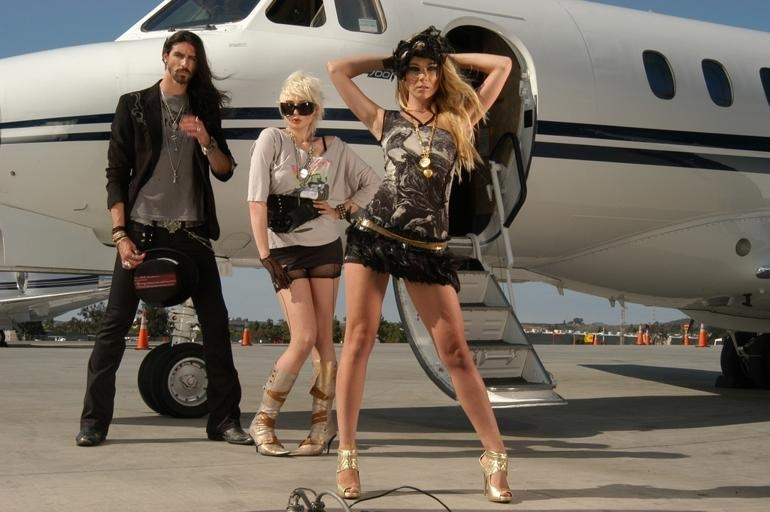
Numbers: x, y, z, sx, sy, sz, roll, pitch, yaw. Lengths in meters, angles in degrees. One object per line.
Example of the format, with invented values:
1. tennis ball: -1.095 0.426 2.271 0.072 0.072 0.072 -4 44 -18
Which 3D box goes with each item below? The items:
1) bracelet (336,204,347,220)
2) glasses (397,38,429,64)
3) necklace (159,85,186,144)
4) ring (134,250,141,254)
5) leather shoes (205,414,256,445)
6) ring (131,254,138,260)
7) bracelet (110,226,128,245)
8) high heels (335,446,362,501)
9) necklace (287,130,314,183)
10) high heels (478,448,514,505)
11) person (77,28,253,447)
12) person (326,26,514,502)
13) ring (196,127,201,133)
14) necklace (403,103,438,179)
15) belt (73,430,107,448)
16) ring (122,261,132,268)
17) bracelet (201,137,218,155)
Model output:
1. bracelet: -0.342 -0.350 5.243 0.092 0.100 0.102 -1 -2 11
2. glasses: 0.174 -1.300 4.307 0.163 0.093 0.183 1 -7 -35
3. necklace: -1.731 -1.155 5.514 0.218 0.372 0.383 0 1 -21
4. ring: -1.962 -0.035 5.381 0.032 0.040 0.040 -8 3 -26
5. leather shoes: -1.279 1.437 5.646 0.478 0.213 0.168 -3 -7 31
6. ring: -1.970 0.001 5.315 0.032 0.035 0.011 4 -51 -5
7. bracelet: -2.160 -0.167 5.445 0.130 0.144 0.147 0 -13 -9
8. high heels: -0.229 1.334 4.247 0.140 0.312 0.200 2 -4 -2
9. necklace: -0.645 -0.765 5.212 0.153 0.466 0.062 15 -47 -25
10. high heels: 0.698 1.367 4.288 0.192 0.330 0.229 1 -4 9
11. person: -1.729 -0.145 5.494 1.233 3.306 0.656 4 -5 -20
12. person: 0.184 0.011 4.332 1.185 3.003 0.350 3 -5 -7
13. ring: -1.439 -0.978 5.229 0.027 0.026 0.026 6 2 0
14. necklace: 0.252 -0.712 4.313 0.271 0.061 0.545 15 -40 21
15. belt: -2.331 1.413 5.321 0.098 0.109 0.262 2 -17 -2
16. ring: -2.027 0.066 5.345 0.065 0.037 0.086 10 -10 -22
17. bracelet: -1.410 -0.889 5.437 0.092 0.139 0.156 2 -4 -2
